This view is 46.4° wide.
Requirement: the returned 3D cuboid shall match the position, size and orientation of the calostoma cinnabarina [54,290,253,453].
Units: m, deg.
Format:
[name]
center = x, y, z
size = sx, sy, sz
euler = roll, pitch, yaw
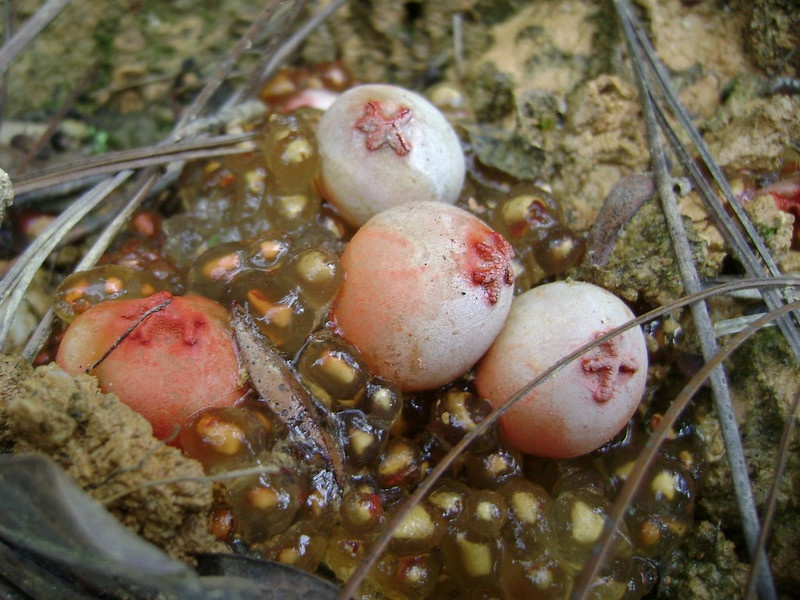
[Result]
[calostoma cinnabarina]
center = -0.565, 0.117, 2.232
size = 0.446, 0.202, 0.500
euler = 22, 23, 4
